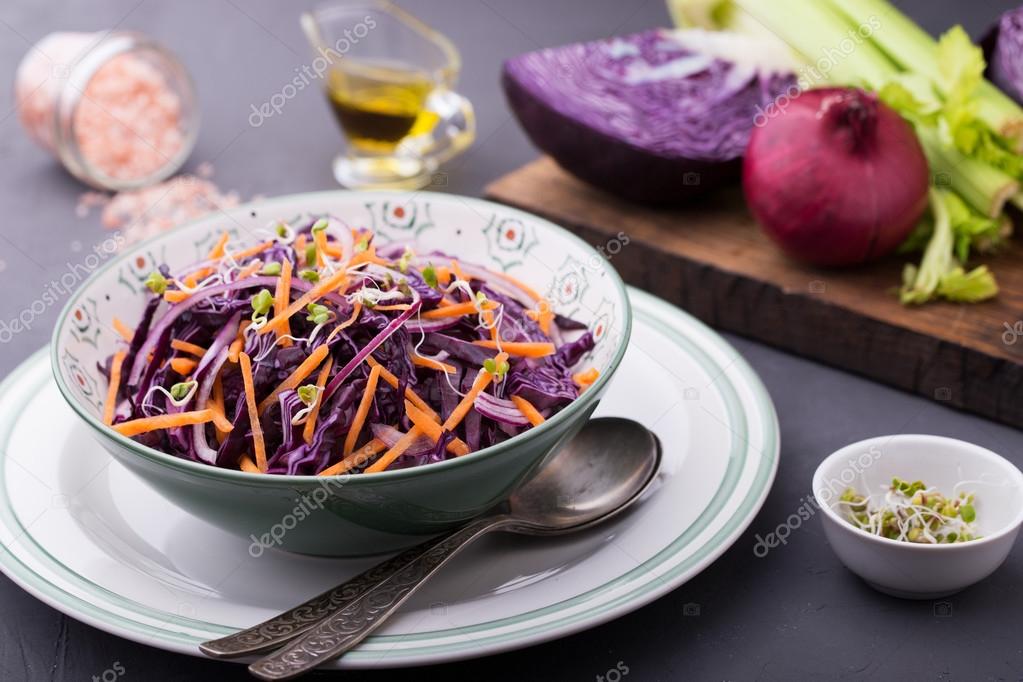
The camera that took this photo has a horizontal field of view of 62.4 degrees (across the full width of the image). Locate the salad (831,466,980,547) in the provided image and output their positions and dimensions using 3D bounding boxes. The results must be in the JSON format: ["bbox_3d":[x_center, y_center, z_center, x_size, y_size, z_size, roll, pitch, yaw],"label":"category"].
[{"bbox_3d":[0.751,0.326,1.585,0.148,0.063,0.148,-9,20,-18],"label":"salad"}]

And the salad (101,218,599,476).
[{"bbox_3d":[-0.311,0.005,1.661,0.629,0.252,0.646,12,30,21],"label":"salad"}]

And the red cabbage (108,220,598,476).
[{"bbox_3d":[-0.293,0.010,1.679,0.628,0.251,0.645,12,30,22],"label":"red cabbage"}]

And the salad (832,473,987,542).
[{"bbox_3d":[0.762,0.324,1.589,0.148,0.073,0.146,-19,24,-37],"label":"salad"}]
